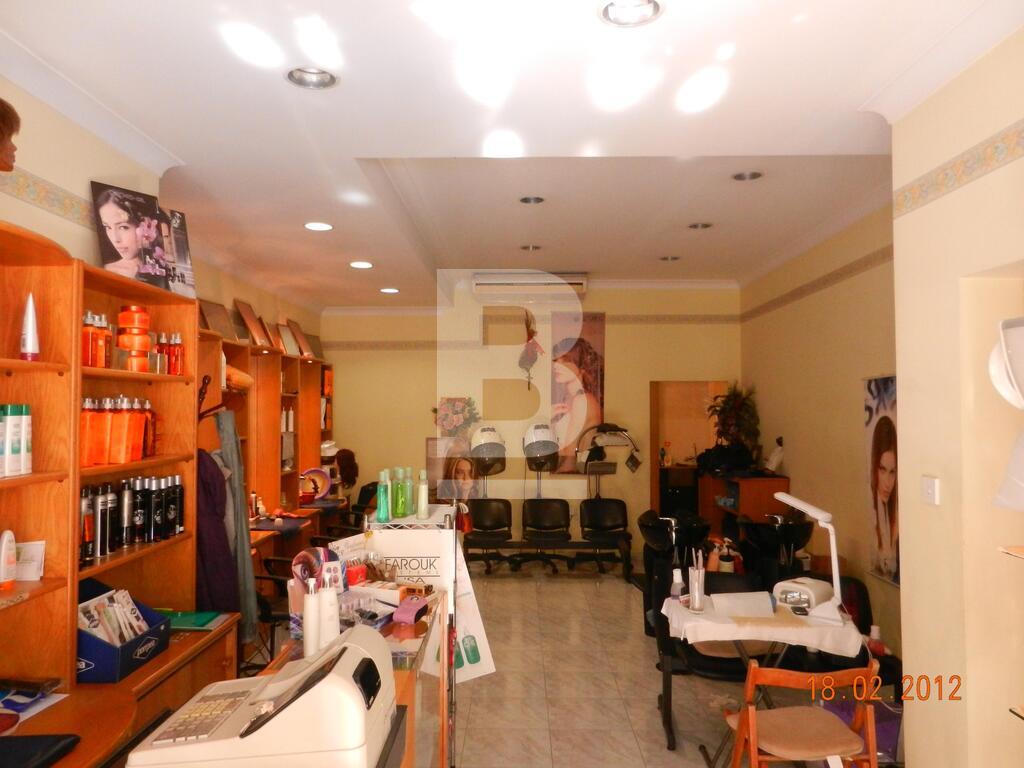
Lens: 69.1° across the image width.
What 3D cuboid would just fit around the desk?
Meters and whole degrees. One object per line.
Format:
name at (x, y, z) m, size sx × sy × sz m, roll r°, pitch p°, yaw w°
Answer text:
desk at (1.352, 1.487, 4.299) m, size 1.058 × 0.573 × 0.810 m, roll 0°, pitch -3°, yaw 1°

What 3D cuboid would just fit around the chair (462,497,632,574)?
chair at (0.348, 1.593, 7.826) m, size 1.747 × 0.781 × 0.851 m, roll -1°, pitch 2°, yaw 2°

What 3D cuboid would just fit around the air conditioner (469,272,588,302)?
air conditioner at (0.181, -1.009, 7.782) m, size 1.181 × 0.282 × 0.275 m, roll -1°, pitch 2°, yaw -1°

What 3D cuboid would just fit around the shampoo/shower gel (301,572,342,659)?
shampoo/shower gel at (-0.752, 0.910, 2.930) m, size 0.143 × 0.272 × 0.094 m, roll -2°, pitch 2°, yaw -25°

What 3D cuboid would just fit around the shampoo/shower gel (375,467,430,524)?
shampoo/shower gel at (-0.644, 0.644, 4.345) m, size 0.323 × 0.338 × 0.301 m, roll 0°, pitch -4°, yaw 24°
